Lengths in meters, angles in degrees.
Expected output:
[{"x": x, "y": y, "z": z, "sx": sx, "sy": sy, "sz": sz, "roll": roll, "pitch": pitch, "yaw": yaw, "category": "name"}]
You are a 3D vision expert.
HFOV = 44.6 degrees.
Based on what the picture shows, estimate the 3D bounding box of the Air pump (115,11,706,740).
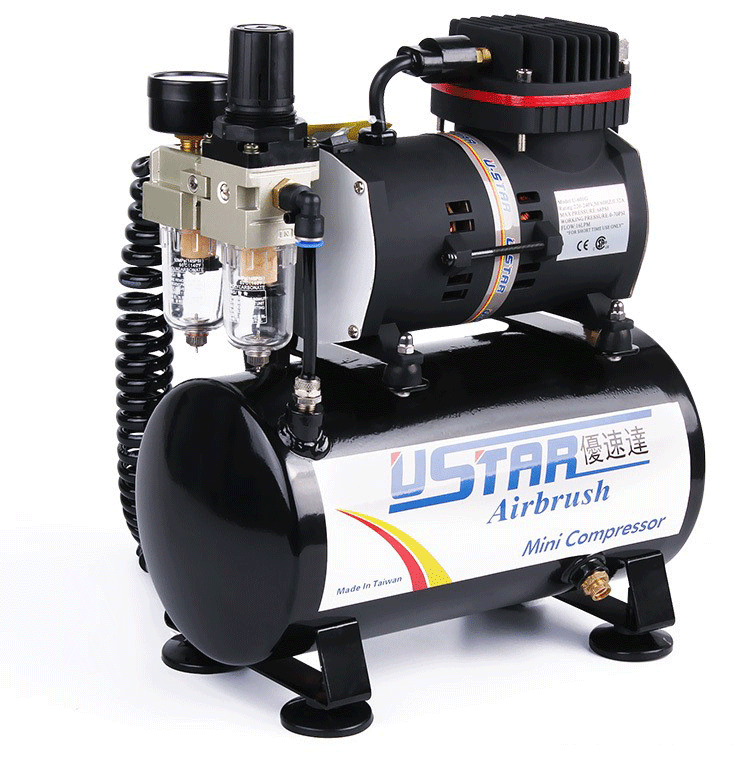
[{"x": 0.089, "y": -0.091, "z": 2.300, "sx": 1.334, "sy": 1.724, "sz": 0.737, "roll": -8, "pitch": 17, "yaw": -26, "category": "Air pump"}]

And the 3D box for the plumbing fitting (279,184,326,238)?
[{"x": -0.147, "y": -0.327, "z": 1.786, "sx": 0.097, "sy": 0.105, "sz": 0.131, "roll": -4, "pitch": 14, "yaw": -27, "category": "plumbing fitting"}]

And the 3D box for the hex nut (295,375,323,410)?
[{"x": -0.146, "y": 0.025, "z": 1.926, "sx": 0.056, "sy": 0.073, "sz": 0.048, "roll": -3, "pitch": 15, "yaw": -9, "category": "hex nut"}]

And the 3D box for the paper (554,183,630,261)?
[{"x": 0.541, "y": -0.409, "z": 2.323, "sx": 0.255, "sy": 0.162, "sz": 0.075, "roll": -9, "pitch": 16, "yaw": -27, "category": "paper"}]
